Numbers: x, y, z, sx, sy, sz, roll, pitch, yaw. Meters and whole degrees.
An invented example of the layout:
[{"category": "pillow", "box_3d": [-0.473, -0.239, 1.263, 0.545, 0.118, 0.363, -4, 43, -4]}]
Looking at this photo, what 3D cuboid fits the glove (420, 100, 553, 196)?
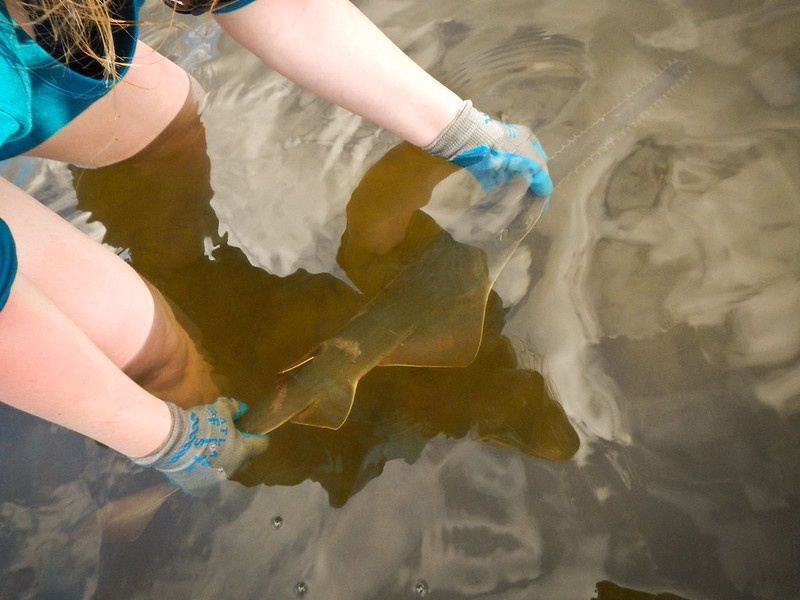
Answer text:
[{"category": "glove", "box_3d": [0.250, -0.429, 2.895, 0.261, 0.325, 0.089, -59, 10, -12]}]
